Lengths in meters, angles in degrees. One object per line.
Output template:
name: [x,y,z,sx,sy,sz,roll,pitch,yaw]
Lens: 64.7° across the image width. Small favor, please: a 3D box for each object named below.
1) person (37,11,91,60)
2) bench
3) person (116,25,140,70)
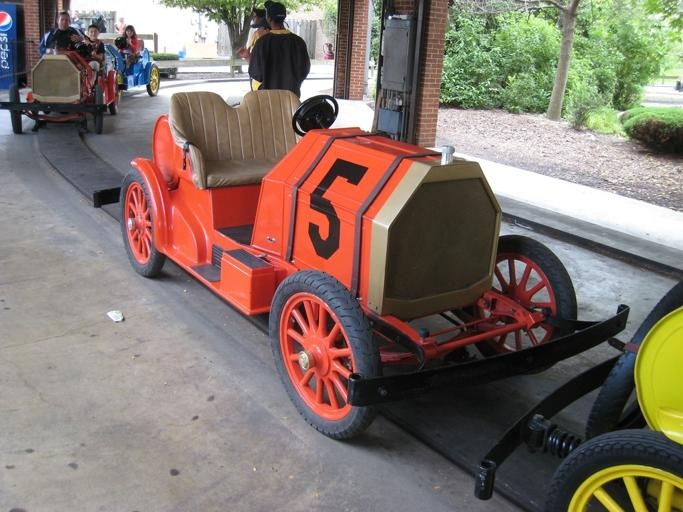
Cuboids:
person: [-5.686,-4.463,10.985,0.997,0.984,0.571,-4,1,2]
bench: [-0.777,-0.967,4.437,1.165,0.696,0.729,-10,25,-32]
person: [-5.459,-5.183,13.619,0.475,1.193,0.669,12,23,-4]
